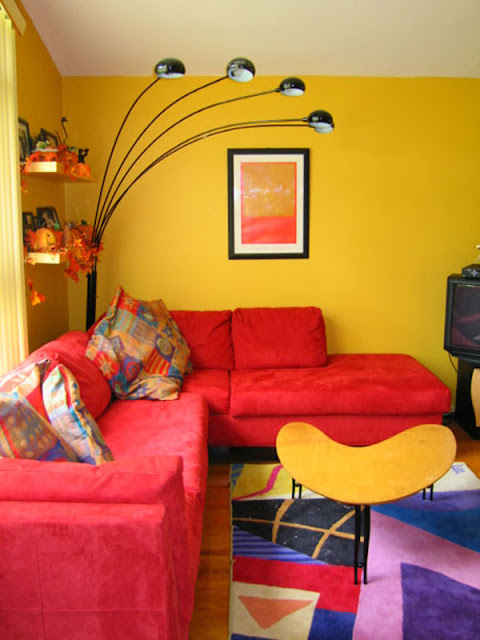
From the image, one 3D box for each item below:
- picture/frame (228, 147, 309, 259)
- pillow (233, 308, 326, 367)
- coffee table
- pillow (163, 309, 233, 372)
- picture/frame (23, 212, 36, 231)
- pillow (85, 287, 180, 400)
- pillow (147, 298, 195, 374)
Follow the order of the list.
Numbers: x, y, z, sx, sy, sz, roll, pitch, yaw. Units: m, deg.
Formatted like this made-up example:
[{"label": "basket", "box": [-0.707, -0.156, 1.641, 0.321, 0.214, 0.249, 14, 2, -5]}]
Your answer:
[{"label": "picture/frame", "box": [0.186, -0.836, 3.689, 0.748, 0.912, 0.068, -1, 11, -5]}, {"label": "pillow", "box": [0.263, 0.079, 3.910, 0.759, 0.237, 0.998, -3, 13, 4]}, {"label": "coffee table", "box": [0.467, 0.788, 2.069, 0.449, 0.264, 0.543, 1, -15, -17]}, {"label": "pillow", "box": [-0.190, 0.137, 3.442, 0.386, 0.366, 0.174, -3, -5, -11]}, {"label": "picture/frame", "box": [-1.137, -0.542, 2.931, 0.044, 0.101, 0.248, -4, 10, -16]}, {"label": "pillow", "box": [-0.533, 0.007, 3.172, 0.527, 0.199, 0.683, 15, 46, -12]}, {"label": "pillow", "box": [-0.489, 0.107, 3.285, 0.108, 0.433, 0.282, -24, -14, 10]}]
